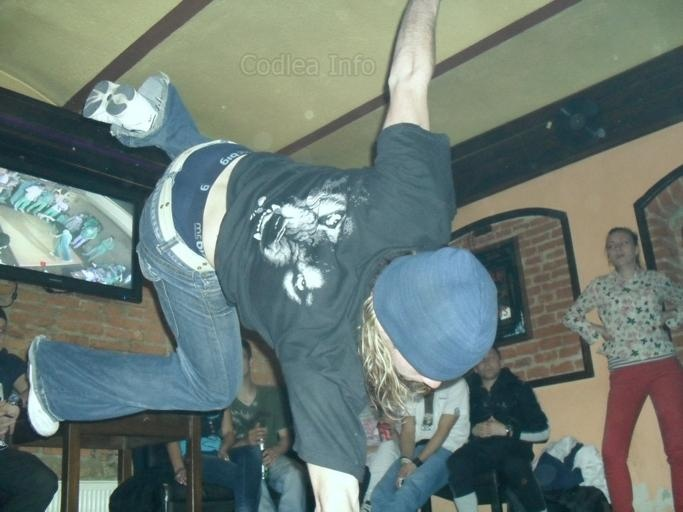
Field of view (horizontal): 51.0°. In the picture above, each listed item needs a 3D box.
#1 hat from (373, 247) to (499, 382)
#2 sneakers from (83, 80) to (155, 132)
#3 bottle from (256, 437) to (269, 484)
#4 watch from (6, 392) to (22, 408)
[{"bbox_3d":[0.393,0.233,3.345,0.601,0.460,0.310,46,-9,-17],"label":"hat"},{"bbox_3d":[-1.195,-0.809,3.950,0.388,0.234,0.183,31,13,17],"label":"sneakers"},{"bbox_3d":[-0.670,1.763,6.165,0.062,0.266,0.180,0,9,-15],"label":"bottle"},{"bbox_3d":[-2.337,1.037,5.098,0.105,0.040,0.077,27,23,33],"label":"watch"}]
